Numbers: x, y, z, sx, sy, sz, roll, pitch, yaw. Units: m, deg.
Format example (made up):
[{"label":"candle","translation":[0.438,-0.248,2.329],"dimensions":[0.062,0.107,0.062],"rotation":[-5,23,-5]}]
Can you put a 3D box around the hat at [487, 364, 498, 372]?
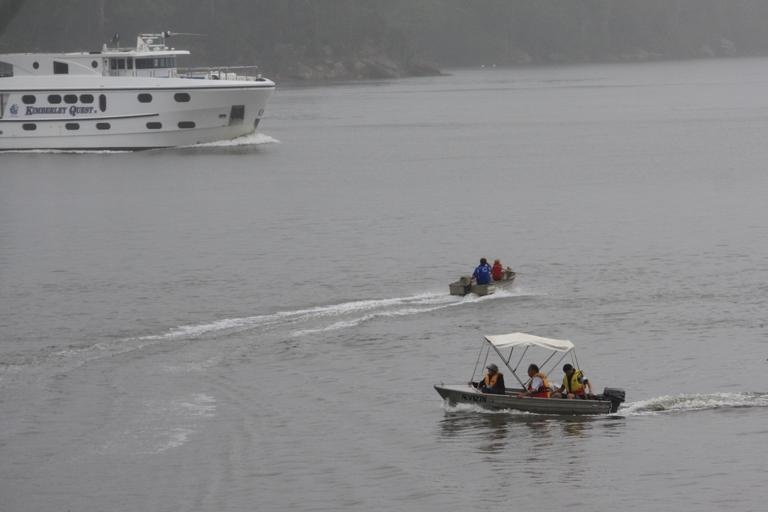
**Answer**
[{"label":"hat","translation":[5.340,5.543,75.437],"dimensions":[0.436,0.161,0.413],"rotation":[10,12,34]}]
